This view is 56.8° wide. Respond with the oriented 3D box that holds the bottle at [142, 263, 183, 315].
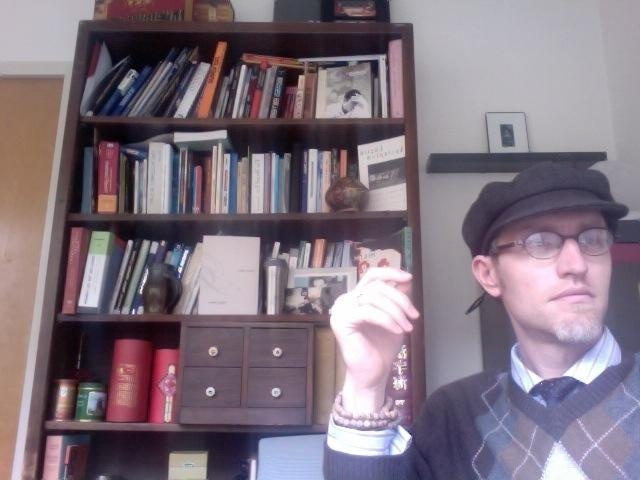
[{"bbox_3d":[-0.629,0.194,2.361,0.150,0.196,0.116,-3,2,-11],"label":"bottle"}]
